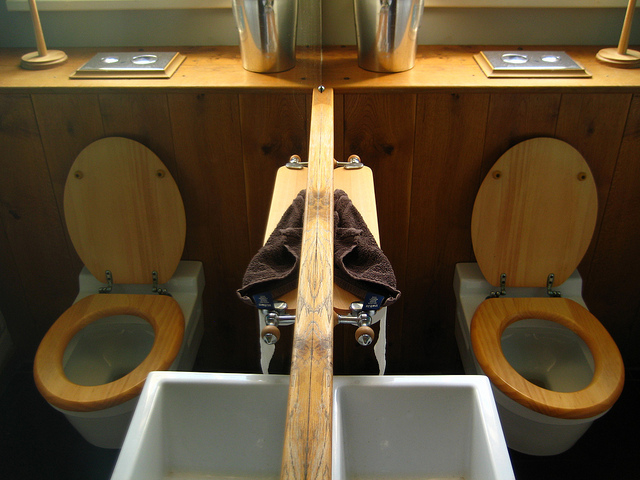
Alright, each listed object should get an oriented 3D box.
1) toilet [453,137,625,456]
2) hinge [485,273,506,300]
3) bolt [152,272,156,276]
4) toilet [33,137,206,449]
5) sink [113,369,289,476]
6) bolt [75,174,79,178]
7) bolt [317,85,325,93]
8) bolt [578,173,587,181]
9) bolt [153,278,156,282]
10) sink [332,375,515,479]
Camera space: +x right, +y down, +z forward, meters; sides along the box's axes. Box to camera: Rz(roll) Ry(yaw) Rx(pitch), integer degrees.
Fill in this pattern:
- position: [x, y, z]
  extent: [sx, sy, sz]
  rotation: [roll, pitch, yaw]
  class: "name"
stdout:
- position: [0.694, 0.207, 1.639]
  extent: [0.450, 0.837, 0.727]
  rotation: [2, 29, 10]
  class: "toilet"
- position: [0.612, 0.156, 1.817]
  extent: [0.071, 0.098, 0.068]
  rotation: [8, 28, 21]
  class: "hinge"
- position: [-0.552, 0.113, 1.750]
  extent: [0.009, 0.009, 0.016]
  rotation: [-1, 8, -7]
  class: "bolt"
- position: [-0.622, 0.131, 1.574]
  extent: [0.438, 0.833, 0.554]
  rotation: [0, 15, -1]
  class: "toilet"
- position: [-0.213, 0.387, 1.009]
  extent: [0.294, 0.192, 0.189]
  rotation: [1, 16, 2]
  class: "sink"
- position: [-0.772, -0.206, 1.669]
  extent: [0.008, 0.008, 0.002]
  rotation: [3, -11, -5]
  class: "bolt"
- position: [0.006, -0.453, 1.562]
  extent: [0.024, 0.009, 0.025]
  rotation: [26, 58, 31]
  class: "bolt"
- position: [0.839, -0.202, 1.671]
  extent: [0.028, 0.025, 0.006]
  rotation: [-1, 15, -5]
  class: "bolt"
- position: [-0.552, 0.133, 1.753]
  extent: [0.009, 0.009, 0.002]
  rotation: [3, 0, -3]
  class: "bolt"
- position: [0.202, 0.383, 1.087]
  extent: [0.306, 0.274, 0.275]
  rotation: [-1, 47, 1]
  class: "sink"
